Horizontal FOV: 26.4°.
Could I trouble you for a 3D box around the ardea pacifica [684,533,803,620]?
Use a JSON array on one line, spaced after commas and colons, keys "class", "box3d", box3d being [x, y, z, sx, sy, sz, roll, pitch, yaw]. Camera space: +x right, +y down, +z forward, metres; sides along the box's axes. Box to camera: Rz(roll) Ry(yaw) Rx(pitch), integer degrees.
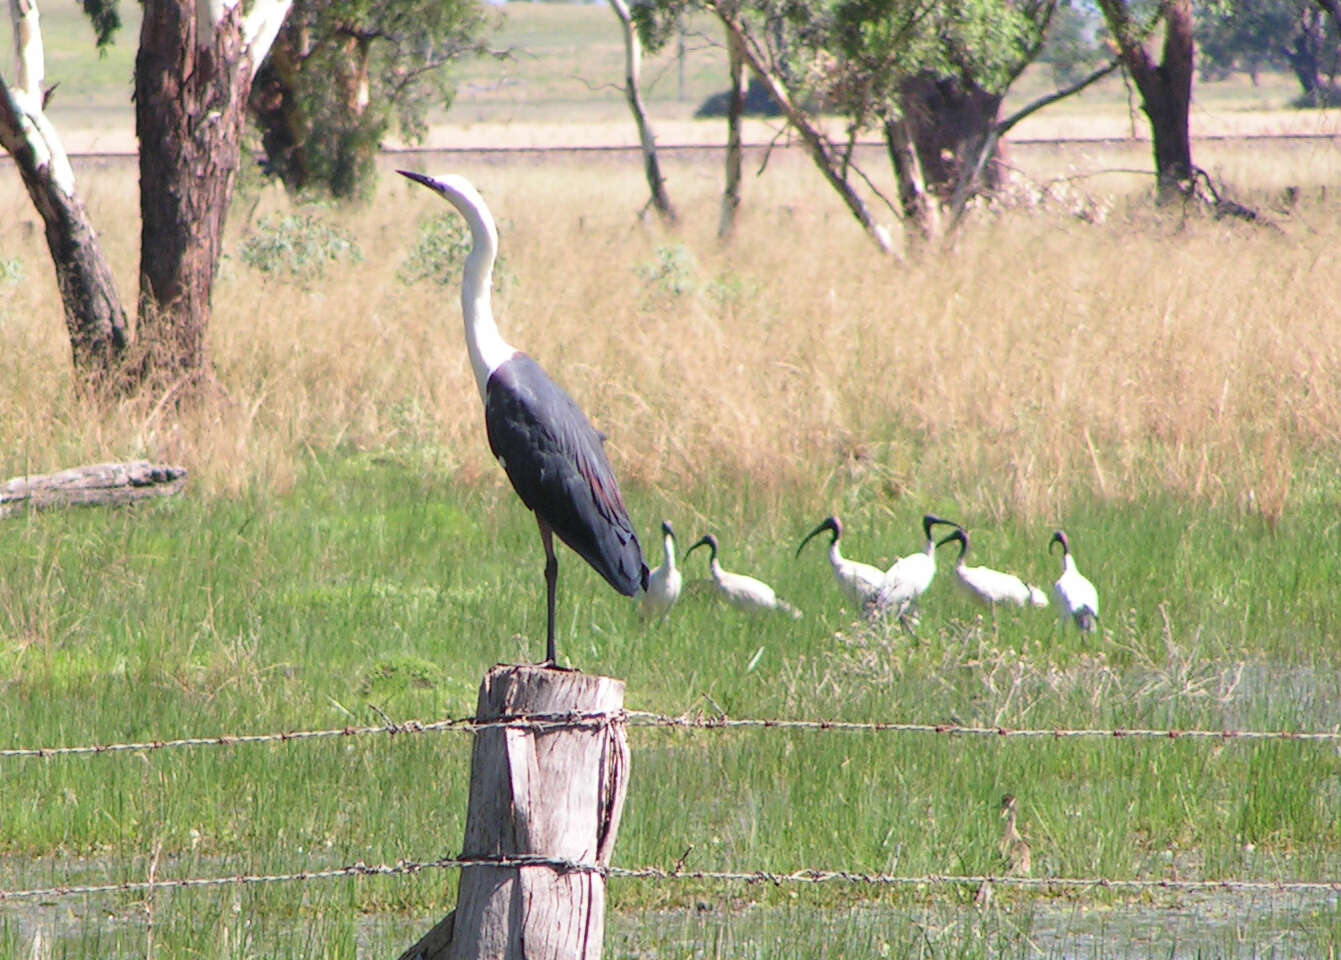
[{"class": "ardea pacifica", "box3d": [0.873, 1.045, 29.848, 0.928, 0.883, 0.525, -3, 12, 4]}]
